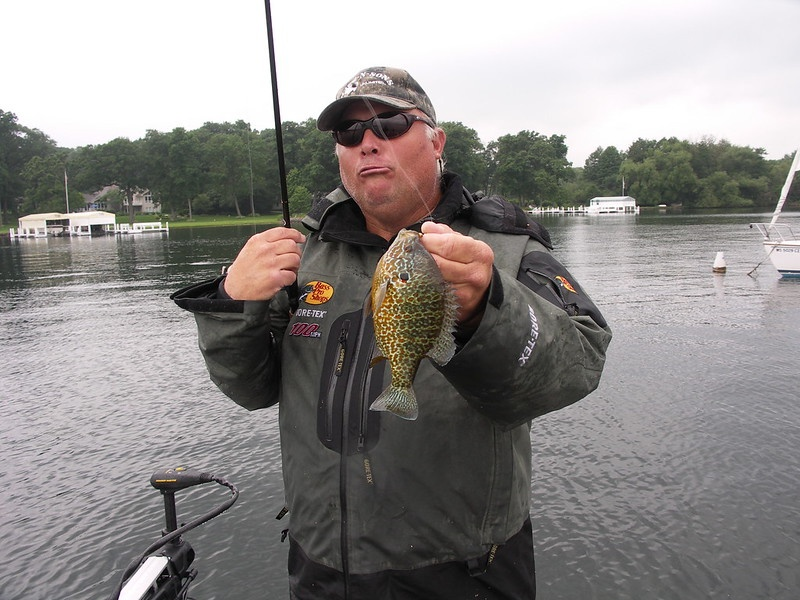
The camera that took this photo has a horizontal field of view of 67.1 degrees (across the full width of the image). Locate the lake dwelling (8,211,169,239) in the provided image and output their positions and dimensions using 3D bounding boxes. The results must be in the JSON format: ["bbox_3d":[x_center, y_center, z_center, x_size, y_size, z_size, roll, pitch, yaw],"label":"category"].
[{"bbox_3d":[-41.399,-9.716,77.963,14.001,2.729,12.360,-4,10,-13],"label":"lake dwelling"}]
